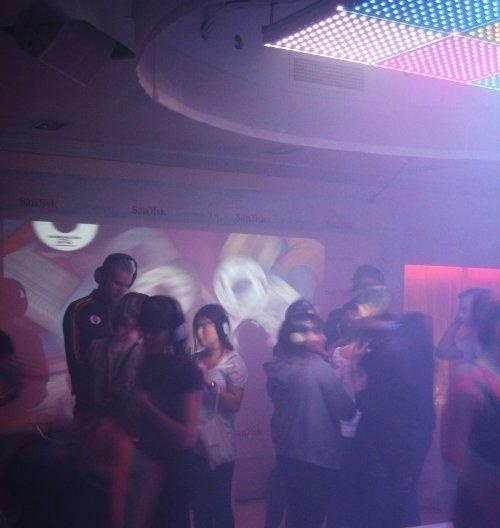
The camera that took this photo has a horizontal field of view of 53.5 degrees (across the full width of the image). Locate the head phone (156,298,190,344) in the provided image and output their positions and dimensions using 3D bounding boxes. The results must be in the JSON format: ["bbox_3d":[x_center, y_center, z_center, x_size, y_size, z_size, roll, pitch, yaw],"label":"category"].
[{"bbox_3d":[-0.480,0.346,3.039,0.076,0.253,0.223,-6,-2,-19],"label":"head phone"}]
